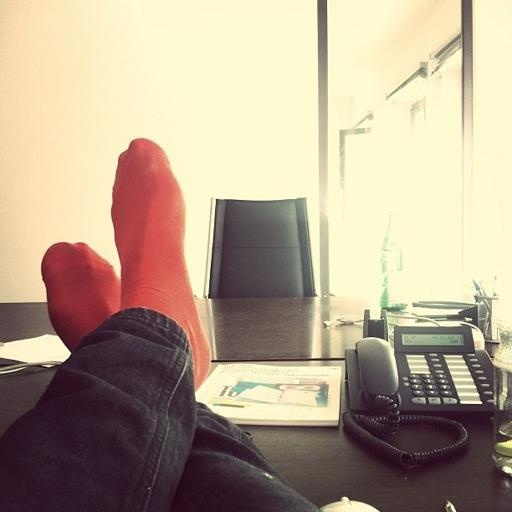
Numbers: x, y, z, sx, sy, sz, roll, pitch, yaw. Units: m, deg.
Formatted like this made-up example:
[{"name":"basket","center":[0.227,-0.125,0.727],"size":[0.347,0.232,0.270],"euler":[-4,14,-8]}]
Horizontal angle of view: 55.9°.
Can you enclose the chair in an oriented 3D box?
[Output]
[{"name":"chair","center":[0.018,0.010,1.712],"size":[0.259,0.501,0.356],"euler":[0,-5,-3]}]
